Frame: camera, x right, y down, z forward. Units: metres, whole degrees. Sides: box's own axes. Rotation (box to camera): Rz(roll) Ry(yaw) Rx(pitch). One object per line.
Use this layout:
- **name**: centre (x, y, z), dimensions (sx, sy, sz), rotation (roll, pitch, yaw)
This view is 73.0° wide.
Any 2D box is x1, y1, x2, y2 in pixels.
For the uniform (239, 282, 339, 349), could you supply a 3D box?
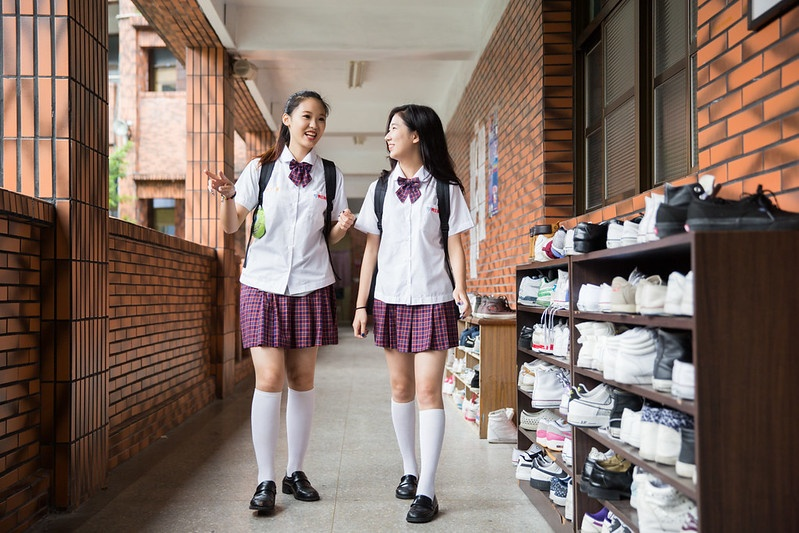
- **uniform**: centre (-0.560, 0.249, 2.759), dimensions (0.448, 0.417, 0.218), rotation (4, -28, -26)

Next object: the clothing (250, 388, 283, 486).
- **clothing**: centre (-0.665, 0.851, 2.688), dimensions (0.156, 0.475, 0.151), rotation (0, 0, 12)

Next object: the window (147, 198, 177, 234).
- **window**: centre (-5.460, -1.184, 12.447), dimensions (0.591, 0.881, 0.195), rotation (0, 0, -13)

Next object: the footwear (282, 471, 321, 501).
- **footwear**: centre (-0.506, 1.116, 2.763), dimensions (0.096, 0.099, 0.228), rotation (4, -7, -34)

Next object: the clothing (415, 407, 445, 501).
- **clothing**: centre (0.151, 0.900, 2.646), dimensions (0.123, 0.417, 0.189), rotation (0, 0, 4)

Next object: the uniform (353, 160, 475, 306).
- **uniform**: centre (0.069, -0.165, 2.740), dimensions (0.582, 0.691, 0.238), rotation (0, 0, 8)

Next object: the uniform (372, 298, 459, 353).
- **uniform**: centre (0.070, 0.295, 2.629), dimensions (0.437, 0.314, 0.245), rotation (1, -5, -3)

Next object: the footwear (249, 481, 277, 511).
- **footwear**: centre (-0.652, 1.096, 2.573), dimensions (0.080, 0.079, 0.184), rotation (3, -13, 0)

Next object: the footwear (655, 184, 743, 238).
- **footwear**: centre (1.023, -0.214, 1.839), dimensions (0.370, 0.162, 0.122), rotation (-7, 22, -11)

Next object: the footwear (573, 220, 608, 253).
- **footwear**: centre (0.800, -0.123, 2.269), dimensions (0.154, 0.111, 0.094), rotation (-5, 8, -11)

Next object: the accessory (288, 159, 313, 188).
- **accessory**: centre (-0.501, -0.463, 2.723), dimensions (0.122, 0.124, 0.041), rotation (3, -8, -3)

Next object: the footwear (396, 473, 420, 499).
- **footwear**: centre (0.038, 1.129, 2.796), dimensions (0.072, 0.067, 0.157), rotation (2, -2, 2)

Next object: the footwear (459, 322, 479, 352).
- **footwear**: centre (0.564, 0.568, 4.422), dimensions (0.106, 0.137, 0.315), rotation (4, 3, 4)

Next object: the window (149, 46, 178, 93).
- **window**: centre (-5.418, -4.455, 12.738), dimensions (0.780, 1.157, 0.746), rotation (-1, -8, -21)
